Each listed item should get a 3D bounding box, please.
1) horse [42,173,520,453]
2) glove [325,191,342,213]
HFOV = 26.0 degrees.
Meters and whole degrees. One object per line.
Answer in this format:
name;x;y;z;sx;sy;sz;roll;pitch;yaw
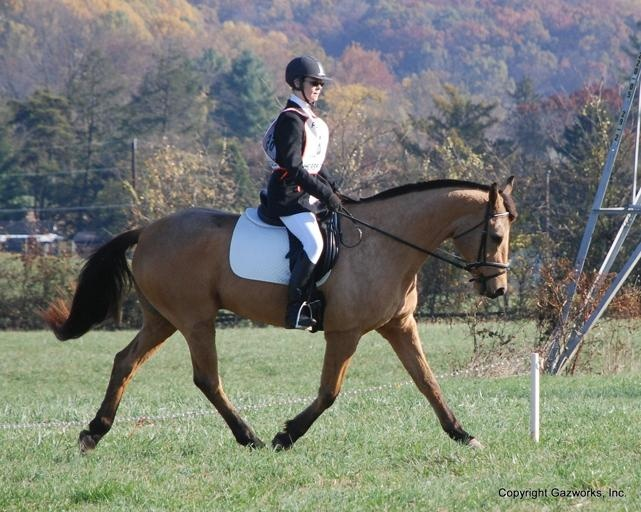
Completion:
horse;-1.235;1.681;38.512;12.651;8.653;3.466;1;19;0
glove;0.370;-1.317;36.727;0.410;0.331;0.431;4;23;-10
